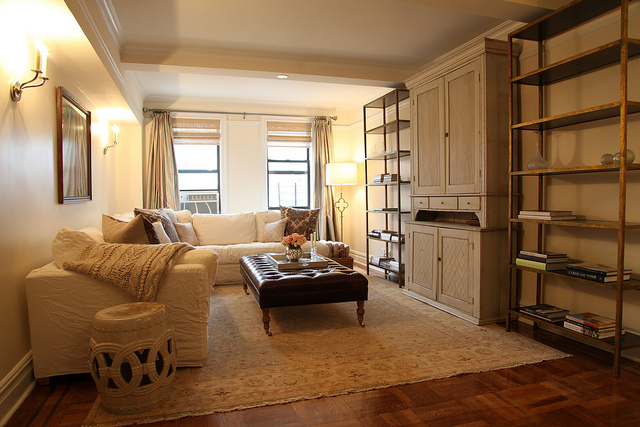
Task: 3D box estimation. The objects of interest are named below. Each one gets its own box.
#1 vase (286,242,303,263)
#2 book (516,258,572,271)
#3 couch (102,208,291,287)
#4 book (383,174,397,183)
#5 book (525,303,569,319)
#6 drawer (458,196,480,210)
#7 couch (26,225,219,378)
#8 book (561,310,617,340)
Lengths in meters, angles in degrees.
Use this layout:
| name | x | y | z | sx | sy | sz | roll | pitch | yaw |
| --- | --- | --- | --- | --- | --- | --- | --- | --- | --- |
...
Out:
| name | x | y | z | sx | sy | sz | roll | pitch | yaw |
| --- | --- | --- | --- | --- | --- | --- | --- | --- | --- |
| vase | -0.292 | 0.451 | 5.028 | 0.187 | 0.242 | 0.339 | -2 | 12 | -5 |
| book | 2.110 | 0.488 | 4.151 | 0.451 | 0.087 | 0.187 | 6 | 13 | 29 |
| couch | -1.492 | 0.277 | 6.373 | 2.752 | 0.891 | 1.126 | 0 | -3 | -25 |
| book | 1.040 | -0.518 | 6.377 | 0.083 | 0.132 | 0.329 | -7 | 13 | -22 |
| book | 2.205 | 0.938 | 4.193 | 0.205 | 0.039 | 0.192 | -1 | 2 | -35 |
| drawer | 1.614 | -0.120 | 4.673 | 0.150 | 0.111 | 0.184 | -1 | 0 | -26 |
| couch | -1.761 | 0.757 | 4.026 | 1.284 | 0.974 | 2.129 | -1 | 3 | -16 |
| book | 2.454 | 0.952 | 3.820 | 0.317 | 0.079 | 0.293 | -4 | 5 | -30 |
